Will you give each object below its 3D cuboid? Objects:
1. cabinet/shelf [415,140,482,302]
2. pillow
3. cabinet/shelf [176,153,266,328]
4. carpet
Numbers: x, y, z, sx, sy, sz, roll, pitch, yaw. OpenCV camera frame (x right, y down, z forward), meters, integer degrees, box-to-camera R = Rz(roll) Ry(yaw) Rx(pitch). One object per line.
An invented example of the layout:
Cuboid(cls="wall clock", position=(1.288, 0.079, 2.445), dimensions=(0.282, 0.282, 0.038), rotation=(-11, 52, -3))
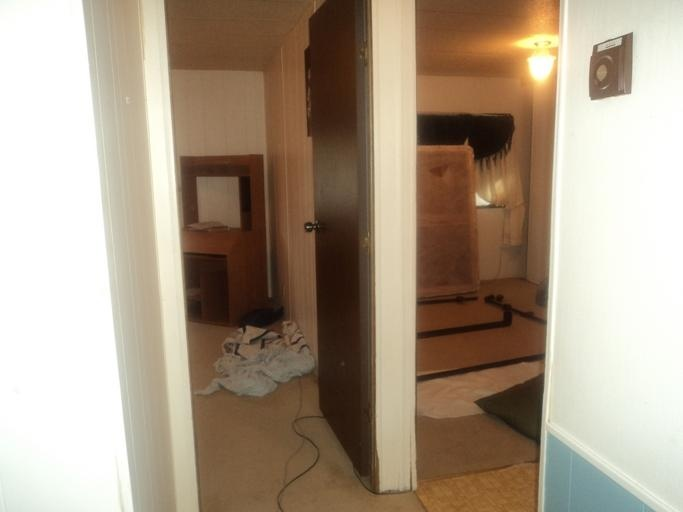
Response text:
Cuboid(cls="cabinet/shelf", position=(0.934, -0.316, 5.346), dimensions=(0.756, 1.344, 0.299), rotation=(-8, 12, -28))
Cuboid(cls="pillow", position=(0.856, 0.732, 2.850), dimensions=(0.398, 0.116, 0.394), rotation=(4, 23, 35))
Cuboid(cls="cabinet/shelf", position=(-1.030, -0.131, 4.716), dimensions=(0.649, 1.251, 0.627), rotation=(2, 15, 23))
Cuboid(cls="carpet", position=(0.633, 0.767, 2.887), dimensions=(0.620, 0.065, 1.189), rotation=(2, 12, 17))
